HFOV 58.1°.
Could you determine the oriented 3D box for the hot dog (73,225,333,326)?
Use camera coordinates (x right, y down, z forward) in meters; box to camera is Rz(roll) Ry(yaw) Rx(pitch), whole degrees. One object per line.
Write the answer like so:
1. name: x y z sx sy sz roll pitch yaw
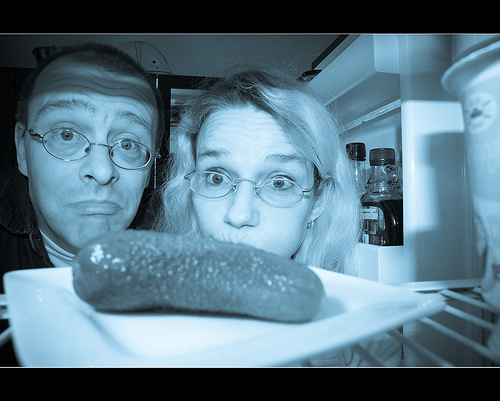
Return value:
1. hot dog: -0.062 0.103 0.701 0.364 0.117 0.144 4 -9 -1
